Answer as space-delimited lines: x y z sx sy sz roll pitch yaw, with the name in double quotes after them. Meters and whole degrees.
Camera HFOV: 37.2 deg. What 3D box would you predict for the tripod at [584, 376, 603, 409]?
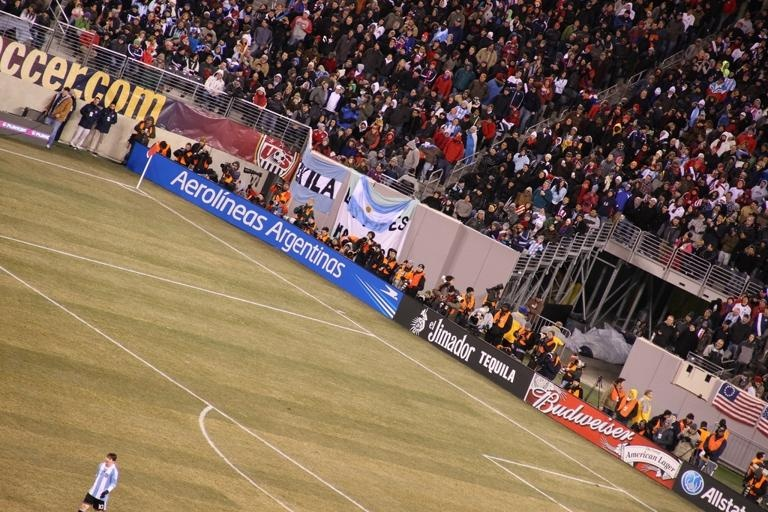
9.122 6.102 49.789 0.900 1.416 0.988 1 18 7 "tripod"
